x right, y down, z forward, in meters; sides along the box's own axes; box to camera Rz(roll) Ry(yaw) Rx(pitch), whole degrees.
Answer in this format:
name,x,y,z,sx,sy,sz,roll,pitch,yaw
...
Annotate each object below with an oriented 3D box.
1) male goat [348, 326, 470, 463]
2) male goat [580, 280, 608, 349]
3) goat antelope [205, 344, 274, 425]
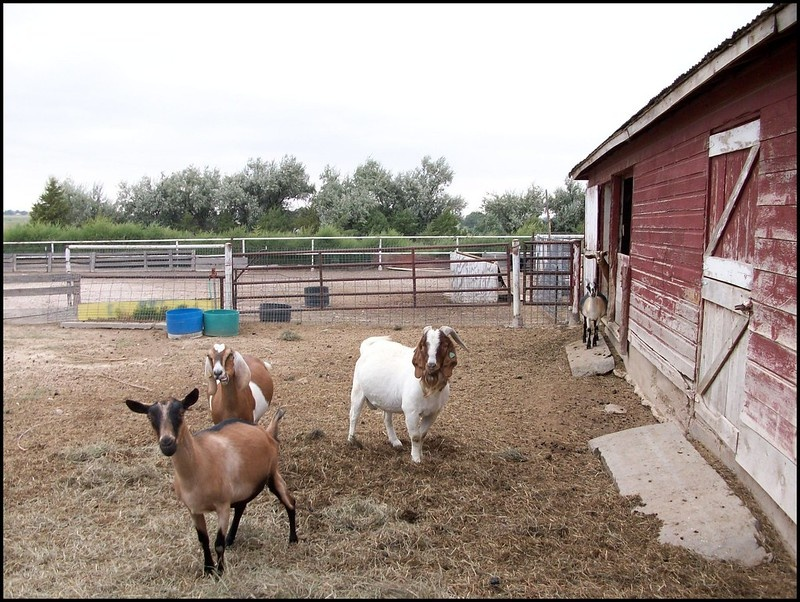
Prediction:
name,x,y,z,sx,sy,sz,roll,pitch,yaw
male goat,0.044,0.957,6.523,0.637,1.437,1.744,-2,0,-35
male goat,2.972,0.221,9.606,0.399,0.982,1.441,-1,0,16
goat antelope,-1.509,0.727,5.782,0.590,0.956,0.614,3,11,-8
